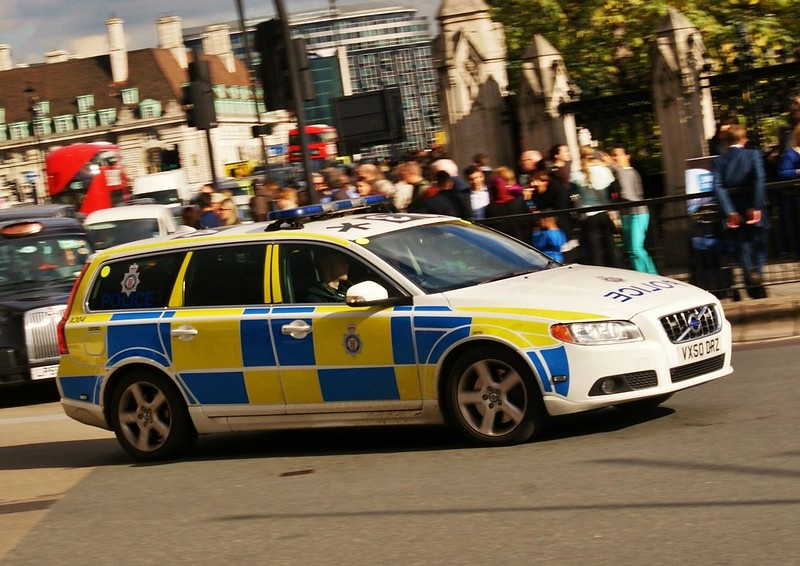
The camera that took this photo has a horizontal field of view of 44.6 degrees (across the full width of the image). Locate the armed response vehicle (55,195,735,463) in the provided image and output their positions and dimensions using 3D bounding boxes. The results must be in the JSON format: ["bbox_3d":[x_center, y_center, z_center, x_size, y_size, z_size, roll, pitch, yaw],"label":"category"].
[{"bbox_3d":[-0.500,0.371,9.044,6.163,1.429,2.510,-4,0,21],"label":"armed response vehicle"}]

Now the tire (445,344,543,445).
[{"bbox_3d":[0.878,0.896,7.869,0.401,0.783,1.041,4,-9,-35],"label":"tire"}]

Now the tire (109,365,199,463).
[{"bbox_3d":[-2.228,1.224,9.240,0.432,0.846,1.154,0,-11,-45],"label":"tire"}]
